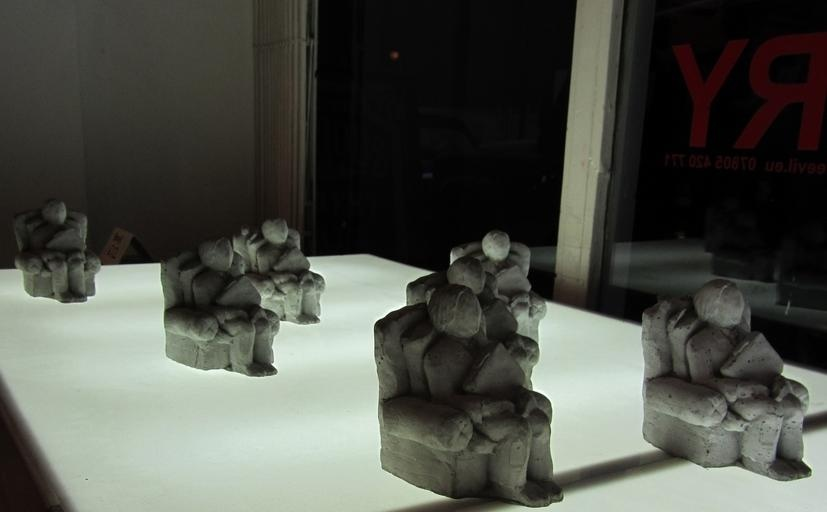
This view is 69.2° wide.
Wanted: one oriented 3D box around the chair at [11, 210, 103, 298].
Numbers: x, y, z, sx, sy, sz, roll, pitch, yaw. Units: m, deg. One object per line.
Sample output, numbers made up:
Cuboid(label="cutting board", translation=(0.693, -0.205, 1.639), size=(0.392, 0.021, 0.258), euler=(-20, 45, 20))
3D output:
Cuboid(label="chair", translation=(-3.699, -0.061, 6.222), size=(0.778, 0.944, 0.673), euler=(-1, 15, -34))

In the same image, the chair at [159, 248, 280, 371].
Cuboid(label="chair", translation=(-1.528, 0.399, 5.049), size=(0.952, 1.023, 0.829), euler=(10, 15, 18))

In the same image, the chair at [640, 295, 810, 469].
Cuboid(label="chair", translation=(2.190, 0.810, 4.127), size=(1.078, 1.089, 0.875), euler=(8, 12, 33))
